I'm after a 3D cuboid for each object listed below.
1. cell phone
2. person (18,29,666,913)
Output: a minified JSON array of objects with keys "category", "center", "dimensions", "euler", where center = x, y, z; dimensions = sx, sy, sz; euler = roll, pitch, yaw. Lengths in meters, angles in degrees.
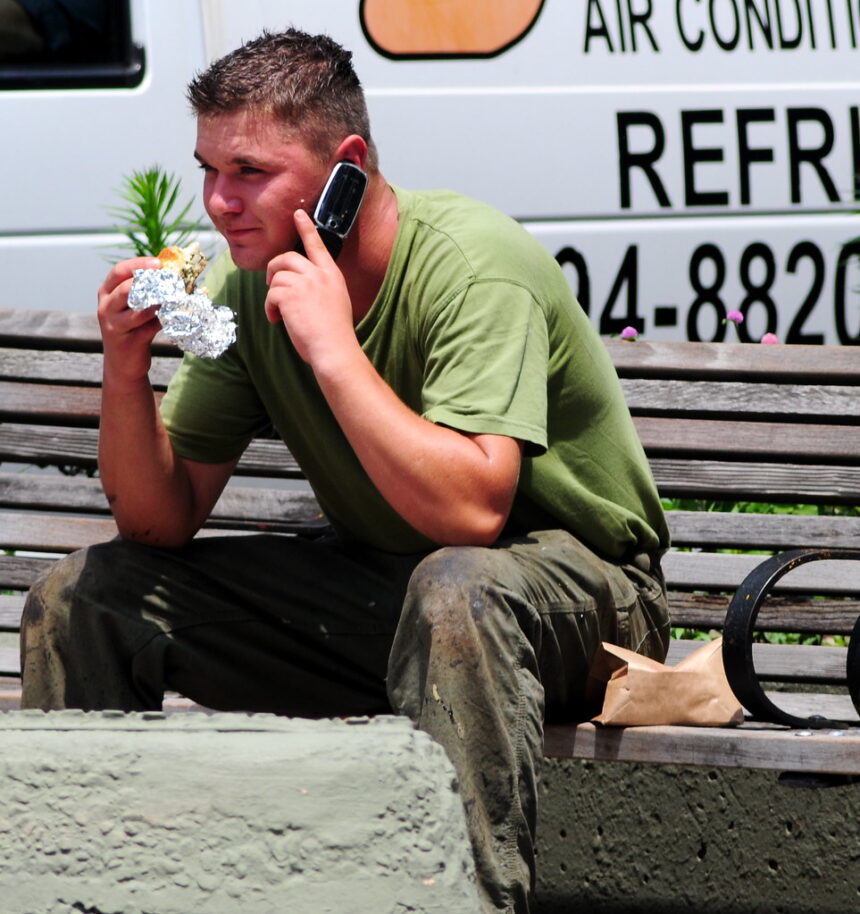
[{"category":"cell phone","center":[-0.191,-0.435,3.470],"dimensions":[0.064,0.228,0.054],"euler":[25,-9,-17]},{"category":"person","center":[-0.169,-0.065,3.466],"dimensions":[1.070,1.464,0.842],"euler":[0,10,25]}]
